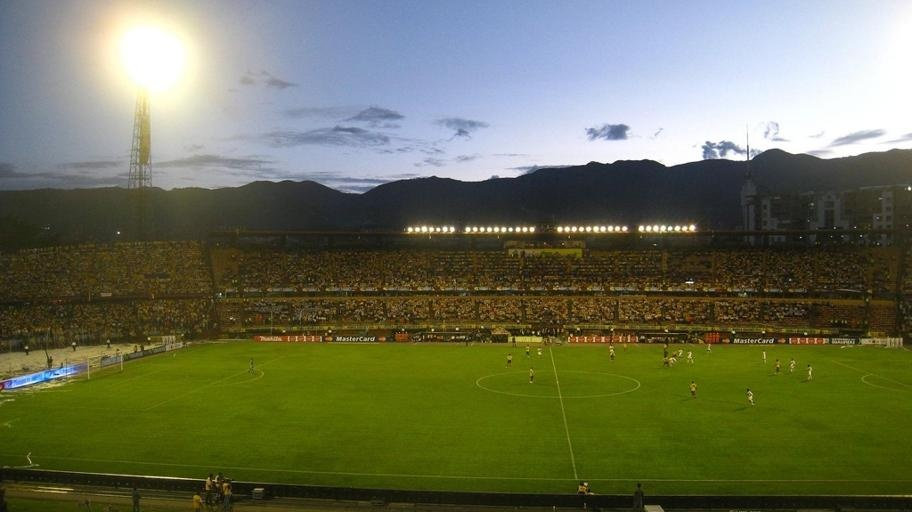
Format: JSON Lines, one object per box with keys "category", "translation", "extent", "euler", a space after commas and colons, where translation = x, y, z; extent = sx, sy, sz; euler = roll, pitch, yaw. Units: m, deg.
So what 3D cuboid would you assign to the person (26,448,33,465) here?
{"category": "person", "translation": [-54.029, 25.572, 97.327], "extent": [0.976, 1.390, 0.376], "euler": [-34, -20, 26]}
